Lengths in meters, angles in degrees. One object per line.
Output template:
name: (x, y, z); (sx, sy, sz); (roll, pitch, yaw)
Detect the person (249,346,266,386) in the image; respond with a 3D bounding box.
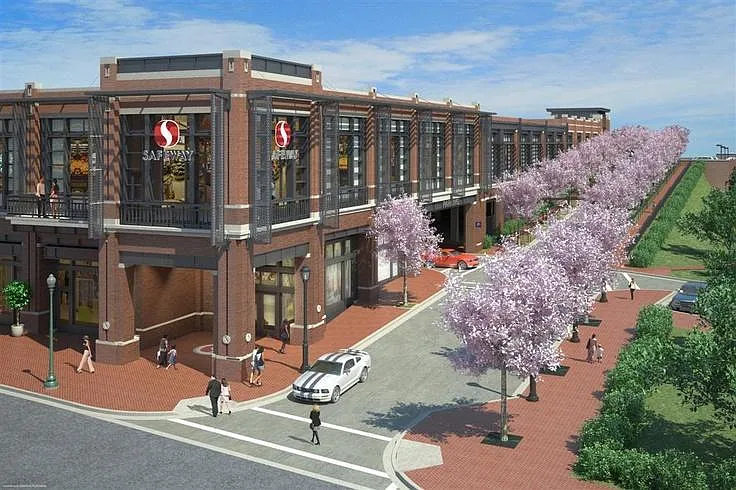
person: (-5.861, 6.351, 45.080); (0.754, 2.063, 1.429); (-2, 9, -9)

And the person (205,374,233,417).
person: (-7.250, 7.477, 42.139); (1.043, 1.850, 1.430); (3, 10, 19)

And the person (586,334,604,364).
person: (13.110, 5.972, 49.036); (0.838, 1.482, 1.656); (2, 9, 14)

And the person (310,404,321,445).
person: (-2.416, 8.353, 39.622); (0.487, 1.791, 1.061); (-1, 9, -5)

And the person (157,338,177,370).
person: (-11.152, 6.172, 47.292); (1.464, 1.812, 0.838); (6, 11, 27)

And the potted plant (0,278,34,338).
potted plant: (-21.143, 3.740, 51.142); (2.364, 3.320, 1.285); (9, 13, 44)
